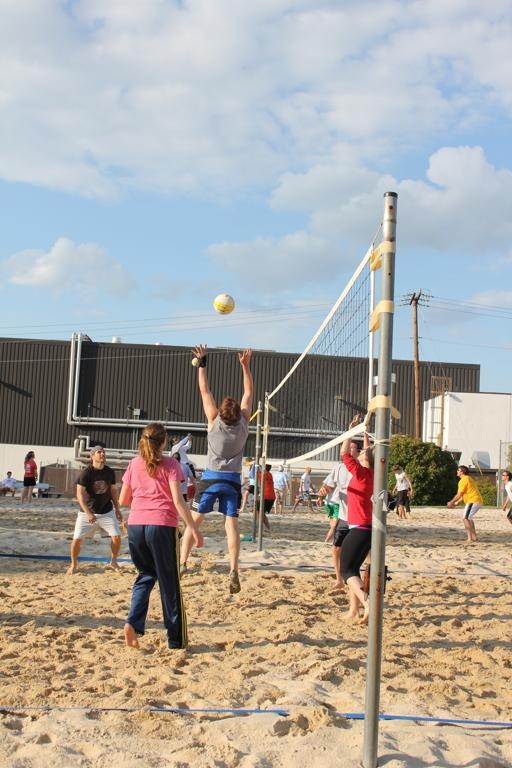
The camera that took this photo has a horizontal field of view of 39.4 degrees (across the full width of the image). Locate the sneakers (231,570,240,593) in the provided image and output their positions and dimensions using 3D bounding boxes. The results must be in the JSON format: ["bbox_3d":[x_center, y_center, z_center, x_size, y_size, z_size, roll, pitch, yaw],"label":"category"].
[{"bbox_3d":[-0.138,1.351,4.903,0.062,0.157,0.069,-1,14,-2],"label":"sneakers"}]

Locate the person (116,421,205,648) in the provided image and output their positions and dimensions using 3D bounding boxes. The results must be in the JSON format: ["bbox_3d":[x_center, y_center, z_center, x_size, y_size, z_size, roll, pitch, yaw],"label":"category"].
[{"bbox_3d":[-0.514,0.820,3.874,0.427,1.221,0.511,1,-3,-10],"label":"person"}]
